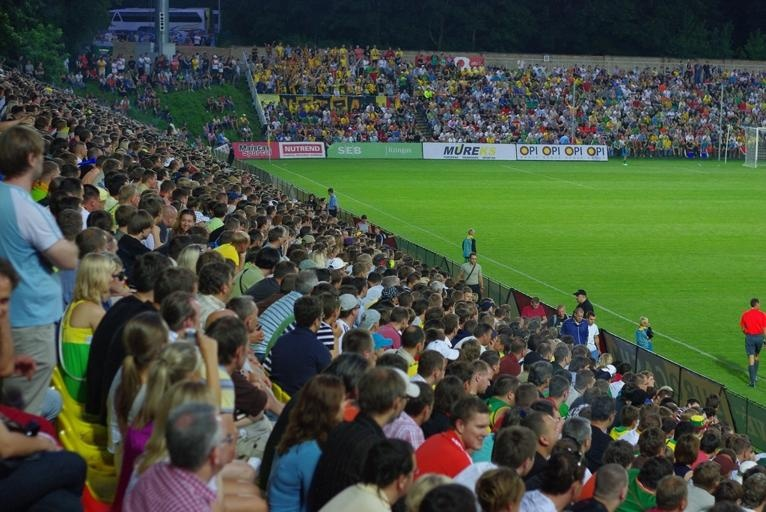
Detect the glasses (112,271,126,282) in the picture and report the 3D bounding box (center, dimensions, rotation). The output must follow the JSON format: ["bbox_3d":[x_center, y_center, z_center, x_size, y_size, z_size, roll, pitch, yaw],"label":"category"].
[{"bbox_3d":[-3.958,0.301,14.526,0.202,0.067,0.141,-4,10,-23],"label":"glasses"}]
